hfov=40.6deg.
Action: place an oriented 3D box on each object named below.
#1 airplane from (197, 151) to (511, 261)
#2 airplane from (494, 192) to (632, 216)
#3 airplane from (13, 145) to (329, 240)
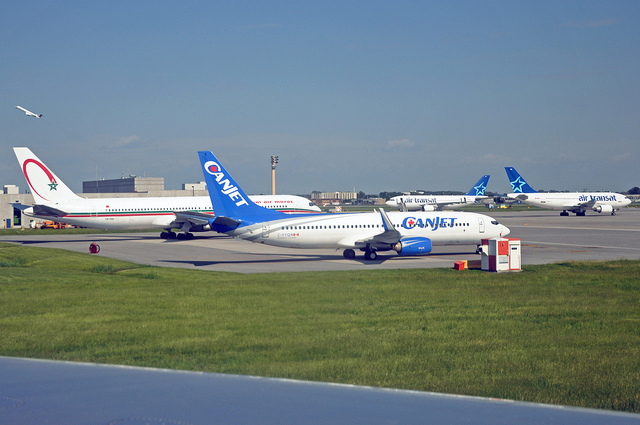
[{"bbox_3d":[3.349,-0.319,62.562,24.048,7.163,18.339,-1,13,-15],"label":"airplane"},{"bbox_3d":[36.198,-1.528,124.240,14.610,4.359,10.769,3,12,16],"label":"airplane"},{"bbox_3d":[-18.033,-1.278,85.442,27.030,7.559,29.553,3,1,28],"label":"airplane"}]
